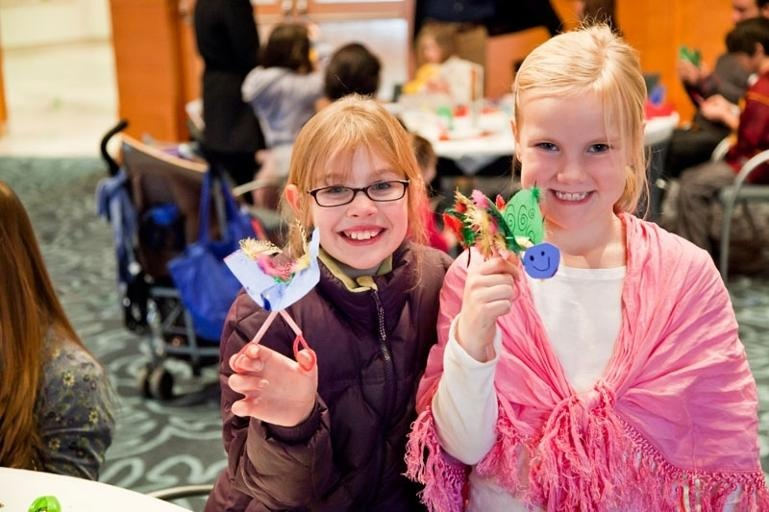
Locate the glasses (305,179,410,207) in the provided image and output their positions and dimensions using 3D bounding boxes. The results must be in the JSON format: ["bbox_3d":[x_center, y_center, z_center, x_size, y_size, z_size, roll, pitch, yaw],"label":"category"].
[{"bbox_3d":[-0.062,-0.159,2.032,0.251,0.055,0.041,-5,15,-5],"label":"glasses"}]
